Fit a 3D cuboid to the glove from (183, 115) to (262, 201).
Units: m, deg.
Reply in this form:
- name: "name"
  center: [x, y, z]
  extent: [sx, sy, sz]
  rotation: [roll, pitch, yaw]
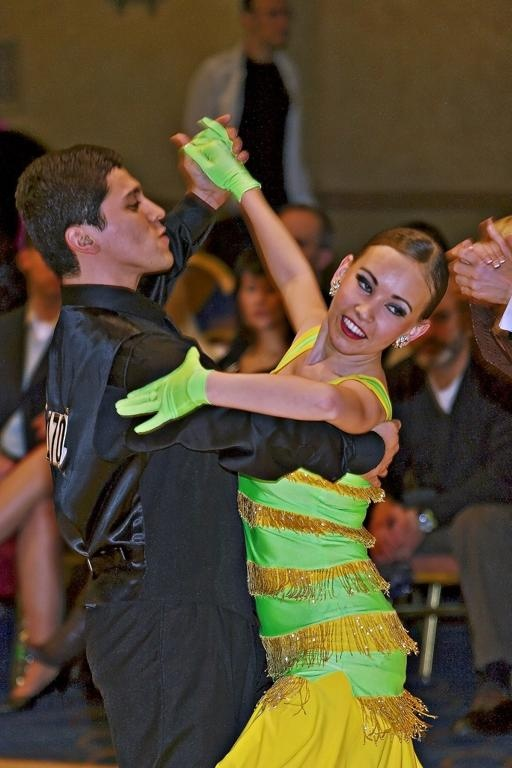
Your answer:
- name: "glove"
  center: [-0.082, -0.490, 1.830]
  extent: [0.100, 0.161, 0.177]
  rotation: [-22, 33, -24]

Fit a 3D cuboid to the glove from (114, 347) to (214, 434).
- name: "glove"
  center: [-0.154, 0.020, 1.407]
  extent: [0.162, 0.112, 0.128]
  rotation: [-10, 29, -9]

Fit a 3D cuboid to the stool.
- name: "stool"
  center: [0.471, 0.571, 2.186]
  extent: [0.186, 0.239, 0.155]
  rotation: [-10, -5, 6]
